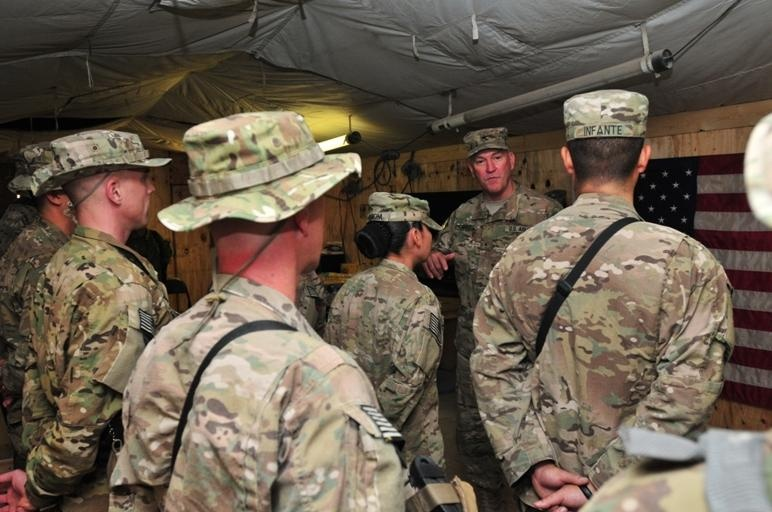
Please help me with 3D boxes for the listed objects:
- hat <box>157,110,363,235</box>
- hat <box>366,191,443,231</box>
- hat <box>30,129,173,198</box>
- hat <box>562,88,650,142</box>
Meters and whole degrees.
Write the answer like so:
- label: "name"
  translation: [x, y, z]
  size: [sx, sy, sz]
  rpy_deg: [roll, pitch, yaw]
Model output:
- label: "hat"
  translation: [-0.499, -0.337, 2.698]
  size: [0.585, 0.259, 0.585]
  rpy_deg: [-12, 9, 45]
- label: "hat"
  translation: [0.115, -0.280, 4.153]
  size: [0.353, 0.136, 0.242]
  rpy_deg: [4, 3, -27]
- label: "hat"
  translation: [-1.573, -0.542, 3.703]
  size: [0.491, 0.157, 0.405]
  rpy_deg: [-23, 15, -30]
- label: "hat"
  translation: [1.071, -0.677, 3.330]
  size: [0.250, 0.174, 0.339]
  rpy_deg: [5, 11, 30]
